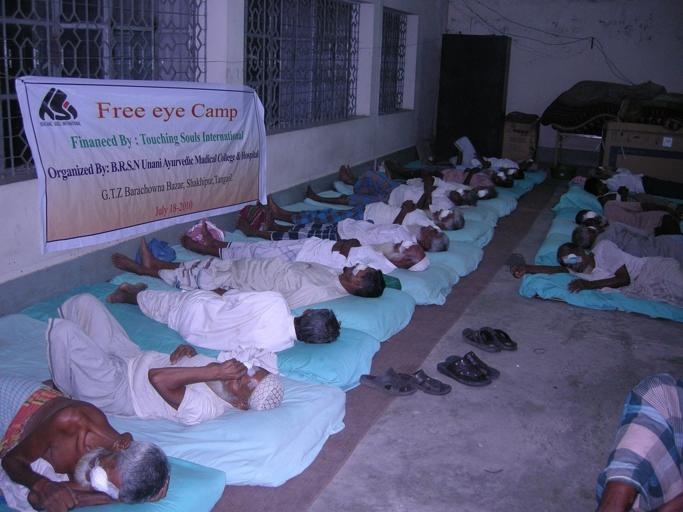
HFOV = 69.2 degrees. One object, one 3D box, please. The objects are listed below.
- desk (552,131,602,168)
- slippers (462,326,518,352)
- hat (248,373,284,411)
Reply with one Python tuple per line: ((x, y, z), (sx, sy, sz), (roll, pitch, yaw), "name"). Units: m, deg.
((4.437, -1.979, 9.216), (0.891, 0.619, 0.771), (3, 16, 19), "desk")
((1.109, 0.637, 3.701), (0.407, 0.086, 0.263), (5, 24, 13), "slippers")
((-0.413, 0.723, 2.635), (0.151, 0.147, 0.190), (37, -12, -11), "hat")
